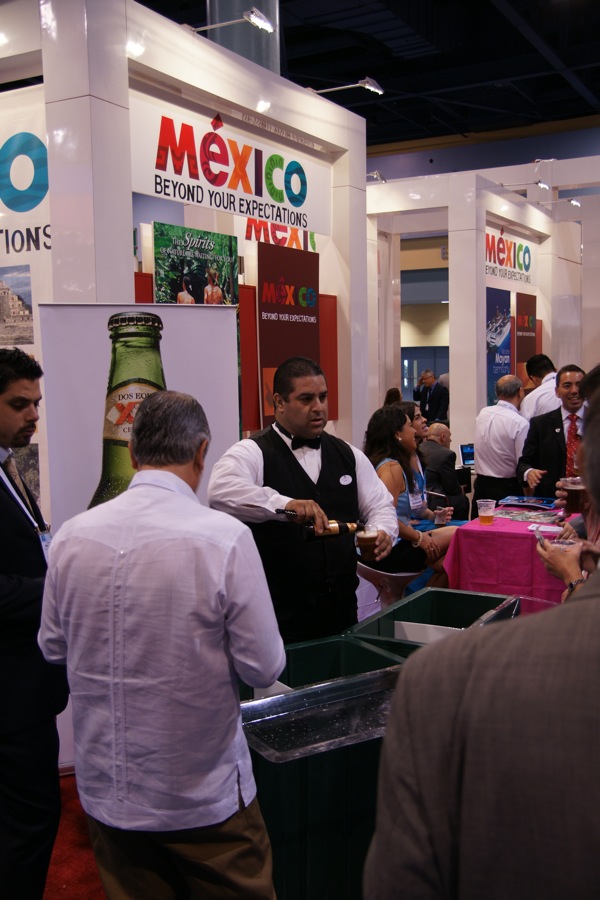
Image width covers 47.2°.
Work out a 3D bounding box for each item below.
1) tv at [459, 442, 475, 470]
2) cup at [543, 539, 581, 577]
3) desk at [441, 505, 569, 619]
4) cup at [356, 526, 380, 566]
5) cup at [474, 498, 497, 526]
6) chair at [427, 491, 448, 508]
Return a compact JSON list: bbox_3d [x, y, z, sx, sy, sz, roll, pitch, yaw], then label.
[{"bbox_3d":[1.701,0.048,7.062,0.192,0.280,0.284,1,1,31],"label":"tv"},{"bbox_3d":[0.841,0.348,2.215,0.075,0.083,0.149,-3,-2,-14],"label":"cup"},{"bbox_3d":[1.279,0.687,4.053,0.908,0.483,0.907,7,-13,-40],"label":"desk"},{"bbox_3d":[0.225,0.335,2.374,0.099,0.119,0.103,-1,3,0],"label":"cup"},{"bbox_3d":[1.029,0.349,3.868,0.125,0.142,0.133,1,-12,0],"label":"cup"},{"bbox_3d":[1.016,0.359,5.092,0.158,0.174,0.103,-5,14,14],"label":"chair"}]
